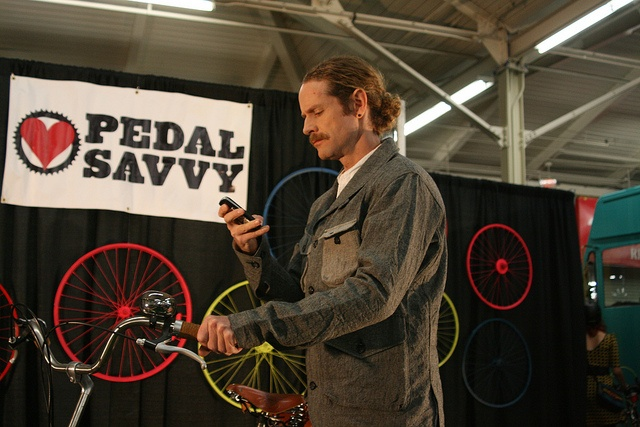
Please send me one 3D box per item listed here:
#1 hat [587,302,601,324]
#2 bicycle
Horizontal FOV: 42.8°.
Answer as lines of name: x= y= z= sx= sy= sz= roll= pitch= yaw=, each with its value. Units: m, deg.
hat: x=3.563 y=1.279 z=10.765 sx=0.175 sy=0.250 sz=0.243 roll=-2 pitch=-40 yaw=5
bicycle: x=-1.374 y=1.308 z=7.435 sx=2.402 sy=1.634 sz=1.559 roll=4 pitch=-5 yaw=-5
